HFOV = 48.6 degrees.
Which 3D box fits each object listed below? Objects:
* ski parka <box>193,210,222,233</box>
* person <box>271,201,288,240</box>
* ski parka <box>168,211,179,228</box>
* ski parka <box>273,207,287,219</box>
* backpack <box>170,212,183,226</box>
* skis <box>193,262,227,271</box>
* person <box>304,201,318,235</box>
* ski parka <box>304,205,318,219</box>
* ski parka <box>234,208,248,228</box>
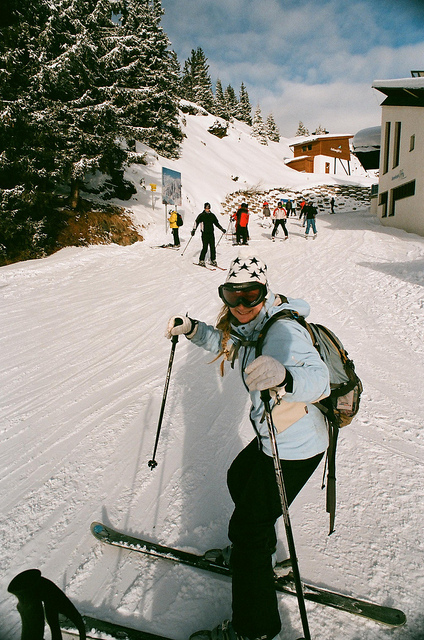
[{"bbox_3d":[-0.154,-2.918,13.942,0.569,0.626,0.859,0,14,5],"label":"ski parka"},{"bbox_3d":[2.872,-4.193,19.869,0.656,1.482,2.418,1,14,8],"label":"person"},{"bbox_3d":[-1.377,-3.521,16.580,0.431,0.634,0.497,3,16,5],"label":"ski parka"},{"bbox_3d":[2.848,-4.467,19.704,0.441,0.471,1.108,0,14,5],"label":"ski parka"},{"bbox_3d":[-1.260,-3.588,16.684,0.355,0.688,0.449,-6,8,-4],"label":"backpack"},{"bbox_3d":[-0.093,-1.592,13.936,0.200,0.032,0.668,-20,32,-36],"label":"skis"},{"bbox_3d":[4.179,-4.266,19.888,0.446,1.299,2.228,2,14,12],"label":"person"},{"bbox_3d":[4.049,-4.424,19.284,0.363,0.550,0.639,3,14,16],"label":"ski parka"},{"bbox_3d":[1.066,-3.597,16.624,0.354,0.692,0.842,-1,14,1],"label":"ski parka"}]
